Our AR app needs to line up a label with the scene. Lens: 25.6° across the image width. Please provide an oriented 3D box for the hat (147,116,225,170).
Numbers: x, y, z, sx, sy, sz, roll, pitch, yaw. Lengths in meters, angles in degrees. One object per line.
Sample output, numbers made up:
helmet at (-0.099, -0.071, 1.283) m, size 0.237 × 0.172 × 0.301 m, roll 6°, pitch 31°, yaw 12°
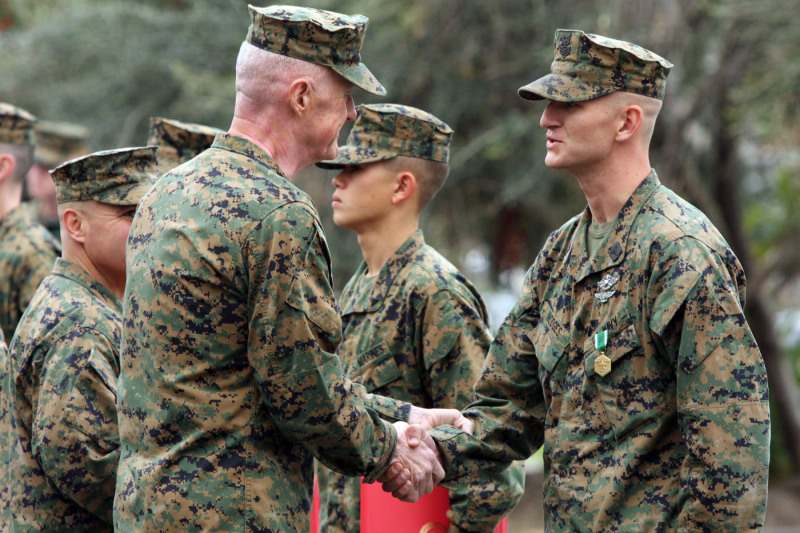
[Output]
hat at (-1.808, -1.070, 14.523) m, size 0.599 × 0.332 × 0.565 m, roll -24°, pitch -9°, yaw -15°

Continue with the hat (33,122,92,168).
hat at (-3.417, -1.264, 17.713) m, size 0.645 × 0.625 × 0.529 m, roll -3°, pitch 7°, yaw -18°
